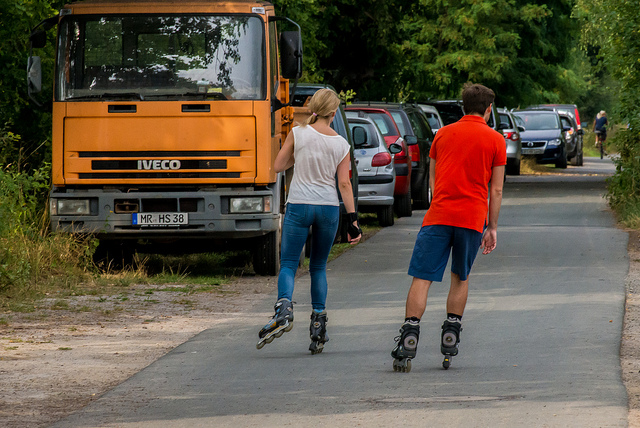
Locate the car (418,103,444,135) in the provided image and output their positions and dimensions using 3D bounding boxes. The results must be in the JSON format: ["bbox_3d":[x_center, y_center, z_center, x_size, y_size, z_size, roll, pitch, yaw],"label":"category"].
[{"bbox_3d":[3.477,-2.960,26.488,0.886,0.829,1.613,3,41,6],"label":"car"}]

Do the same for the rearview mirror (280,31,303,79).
[{"bbox_3d":[-0.383,-2.148,11.691,0.287,0.633,0.226,1,6,1],"label":"rearview mirror"}]

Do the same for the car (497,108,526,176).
[{"bbox_3d":[7.029,-2.552,31.636,0.907,2.582,6.003,2,7,13],"label":"car"}]

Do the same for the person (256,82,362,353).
[{"bbox_3d":[-0.073,0.057,8.453,0.958,2.539,0.585,0,6,-3],"label":"person"}]

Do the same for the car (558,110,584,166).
[{"bbox_3d":[11.783,-3.611,40.199,1.133,3.138,3.418,1,-1,4],"label":"car"}]

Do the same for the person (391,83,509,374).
[{"bbox_3d":[1.198,0.100,7.888,1.155,2.568,0.501,-3,7,-32],"label":"person"}]

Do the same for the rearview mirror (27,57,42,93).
[{"bbox_3d":[-4.076,-1.943,12.192,0.115,0.416,0.302,2,-1,27],"label":"rearview mirror"}]

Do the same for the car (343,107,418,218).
[{"bbox_3d":[1.402,-1.214,19.536,1.438,1.316,2.448,0,10,8],"label":"car"}]

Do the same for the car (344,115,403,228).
[{"bbox_3d":[1.171,-0.960,18.027,1.270,1.124,2.173,1,14,6],"label":"car"}]

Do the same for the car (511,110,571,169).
[{"bbox_3d":[9.576,-3.255,37.844,2.637,2.289,5.803,0,7,20],"label":"car"}]
